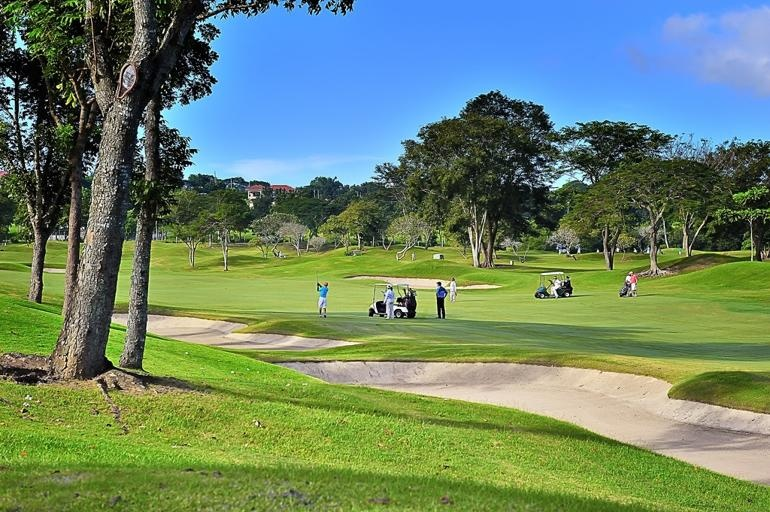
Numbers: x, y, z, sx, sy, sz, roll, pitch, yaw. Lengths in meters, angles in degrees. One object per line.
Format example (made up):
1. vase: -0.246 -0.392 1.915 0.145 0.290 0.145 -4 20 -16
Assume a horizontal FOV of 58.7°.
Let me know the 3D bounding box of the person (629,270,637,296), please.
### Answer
1. person: 19.232 2.190 53.326 0.531 1.433 2.224 2 -1 16

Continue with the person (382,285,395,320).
1. person: 0.284 2.706 41.304 0.683 1.834 1.217 3 -1 1
